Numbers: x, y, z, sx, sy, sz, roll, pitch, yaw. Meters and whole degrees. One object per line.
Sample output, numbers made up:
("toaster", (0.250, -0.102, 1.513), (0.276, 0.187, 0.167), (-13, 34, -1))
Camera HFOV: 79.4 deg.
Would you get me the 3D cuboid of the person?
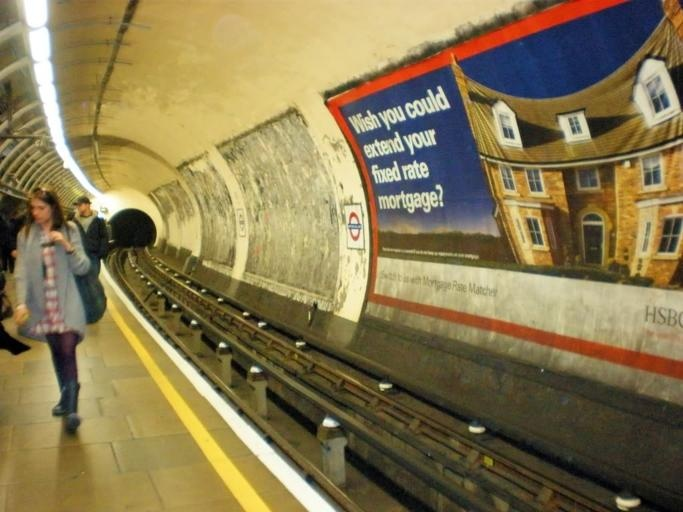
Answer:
("person", (-2.388, 0.457, 3.437), (0.686, 2.320, 0.510), (7, -2, -31))
